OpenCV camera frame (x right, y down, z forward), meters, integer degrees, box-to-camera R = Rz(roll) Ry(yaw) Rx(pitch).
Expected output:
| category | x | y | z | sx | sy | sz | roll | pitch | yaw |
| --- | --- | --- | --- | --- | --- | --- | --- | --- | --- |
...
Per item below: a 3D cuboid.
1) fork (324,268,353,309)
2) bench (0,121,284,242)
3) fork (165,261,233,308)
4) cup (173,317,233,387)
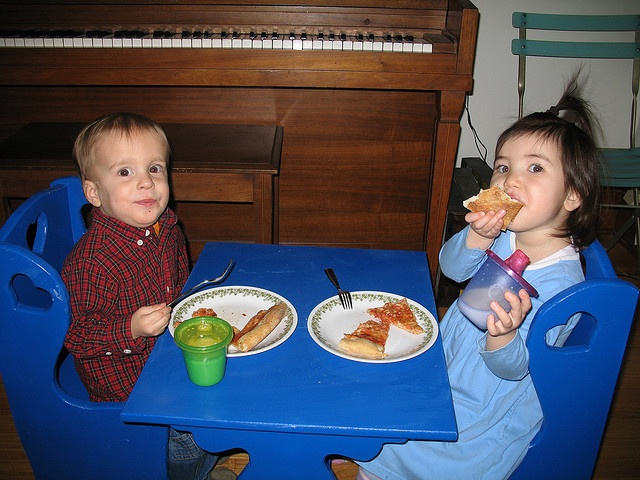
| category | x | y | z | sx | sy | sz | roll | pitch | yaw |
| --- | --- | --- | --- | --- | --- | --- | --- | --- | --- |
| fork | 0.056 | 0.143 | 1.399 | 0.035 | 0.021 | 0.187 | -21 | 29 | 2 |
| bench | -0.759 | -0.182 | 2.533 | 1.426 | 0.831 | 0.672 | 1 | 35 | 1 |
| fork | -0.366 | 0.135 | 1.448 | 0.239 | 0.025 | 0.041 | -31 | 70 | -26 |
| cup | -0.271 | 0.263 | 1.127 | 0.134 | 0.134 | 0.118 | -7 | 25 | -12 |
